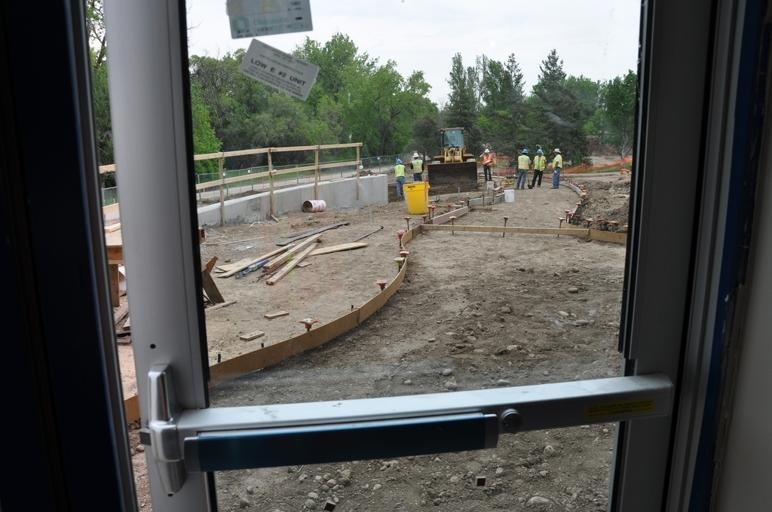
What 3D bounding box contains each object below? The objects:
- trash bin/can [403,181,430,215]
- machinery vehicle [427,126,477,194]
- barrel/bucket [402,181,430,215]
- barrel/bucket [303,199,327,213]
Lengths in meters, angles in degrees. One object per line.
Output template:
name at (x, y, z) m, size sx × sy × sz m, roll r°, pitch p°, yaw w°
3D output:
trash bin/can at (0.542, -0.981, 9.885) m, size 0.508 × 0.523 × 0.494 m, roll -5°, pitch 2°, yaw 12°
machinery vehicle at (1.515, -2.230, 12.877) m, size 0.892 × 0.891 × 1.608 m, roll -2°, pitch 2°, yaw 12°
barrel/bucket at (0.569, -0.986, 9.846) m, size 0.517 × 0.497 × 0.494 m, roll -2°, pitch 3°, yaw 0°
barrel/bucket at (-0.818, -0.583, 6.745) m, size 0.130 × 0.130 × 0.211 m, roll 21°, pitch 13°, yaw 25°
